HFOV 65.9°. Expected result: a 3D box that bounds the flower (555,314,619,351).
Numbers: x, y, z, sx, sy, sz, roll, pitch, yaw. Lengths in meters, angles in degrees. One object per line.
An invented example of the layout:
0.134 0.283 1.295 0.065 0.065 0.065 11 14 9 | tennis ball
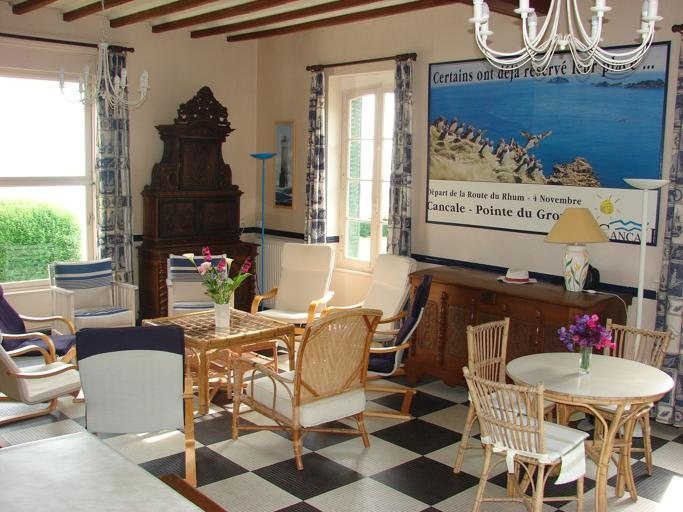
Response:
1.744 0.553 3.728 0.377 0.316 0.230 4 11 11 | flower

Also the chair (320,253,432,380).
0.514 0.548 5.692 1.490 1.392 1.068 0 3 -33 | chair

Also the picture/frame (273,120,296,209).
-0.903 -1.429 8.230 0.109 1.303 0.438 -8 14 -40 | picture/frame

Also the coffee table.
-1.221 0.825 5.294 1.207 0.663 1.175 -3 6 -41 | coffee table

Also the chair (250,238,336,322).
-0.520 0.360 6.806 0.989 1.059 1.058 5 12 23 | chair
